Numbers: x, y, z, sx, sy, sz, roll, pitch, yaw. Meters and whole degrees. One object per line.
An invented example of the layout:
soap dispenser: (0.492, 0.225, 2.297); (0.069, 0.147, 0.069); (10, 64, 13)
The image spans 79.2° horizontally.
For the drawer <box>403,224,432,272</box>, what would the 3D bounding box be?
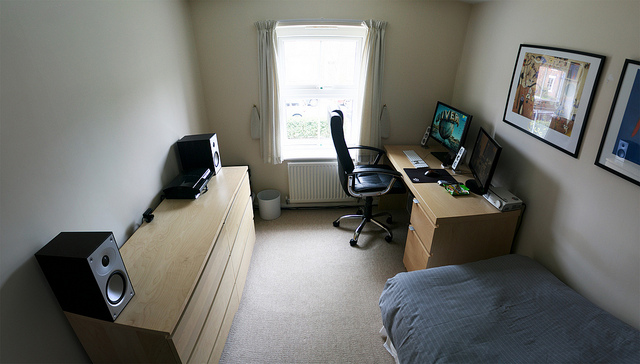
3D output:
drawer: (1.063, 0.719, 4.159); (0.168, 0.437, 0.460); (-3, 24, -3)

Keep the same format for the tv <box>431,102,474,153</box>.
tv: (1.515, -0.676, 4.644); (0.682, 0.474, 0.090); (13, 6, -40)

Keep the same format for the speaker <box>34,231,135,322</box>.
speaker: (-1.852, 0.723, 3.057); (0.598, 0.632, 0.361); (7, 28, 19)

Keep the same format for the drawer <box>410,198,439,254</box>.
drawer: (1.109, 0.454, 4.038); (0.306, 0.321, 0.540); (1, 27, -2)

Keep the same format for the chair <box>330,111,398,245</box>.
chair: (0.576, -0.088, 4.908); (0.950, 1.565, 0.951); (-6, 36, 2)

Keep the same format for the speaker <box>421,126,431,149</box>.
speaker: (1.393, -0.591, 5.073); (0.110, 0.318, 0.144); (-1, 37, 4)

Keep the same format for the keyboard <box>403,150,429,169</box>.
keyboard: (1.148, -0.349, 4.681); (0.177, 0.016, 0.473); (-10, 27, 0)

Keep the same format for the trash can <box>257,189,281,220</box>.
trash can: (-0.620, 0.288, 5.288); (0.381, 0.376, 0.347); (7, 35, 10)

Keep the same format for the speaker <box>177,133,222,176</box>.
speaker: (-1.299, -0.341, 4.303); (0.472, 0.532, 0.294); (-2, 34, -2)

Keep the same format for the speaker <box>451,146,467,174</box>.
speaker: (1.609, -0.257, 4.459); (0.124, 0.314, 0.151); (6, 28, 17)

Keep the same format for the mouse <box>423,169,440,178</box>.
mouse: (1.292, -0.103, 4.432); (0.156, 0.048, 0.087); (-4, 29, 4)
